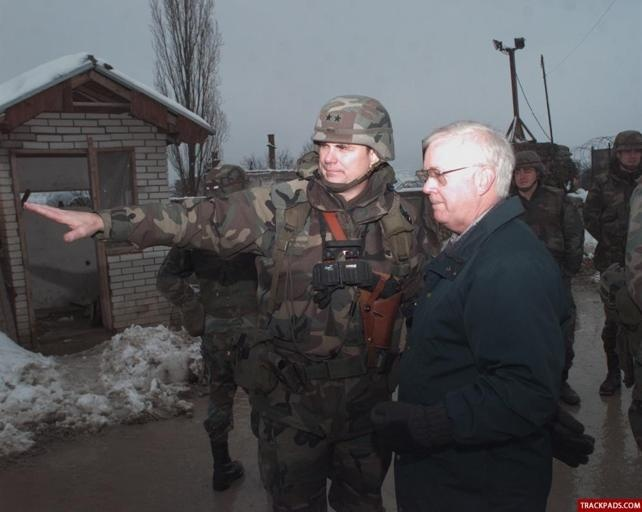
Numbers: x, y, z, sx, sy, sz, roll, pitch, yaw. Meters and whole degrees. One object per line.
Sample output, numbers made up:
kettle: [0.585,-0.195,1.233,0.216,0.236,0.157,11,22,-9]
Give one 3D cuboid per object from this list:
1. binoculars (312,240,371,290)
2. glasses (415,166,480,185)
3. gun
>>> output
binoculars: [0.137,0.050,3.711,0.379,0.303,0.122,-3,13,-10]
glasses: [0.603,-0.413,2.931,0.238,0.073,0.221,-10,12,-17]
gun: [0.361,0.386,3.866,0.307,0.570,0.261,-2,19,-24]
